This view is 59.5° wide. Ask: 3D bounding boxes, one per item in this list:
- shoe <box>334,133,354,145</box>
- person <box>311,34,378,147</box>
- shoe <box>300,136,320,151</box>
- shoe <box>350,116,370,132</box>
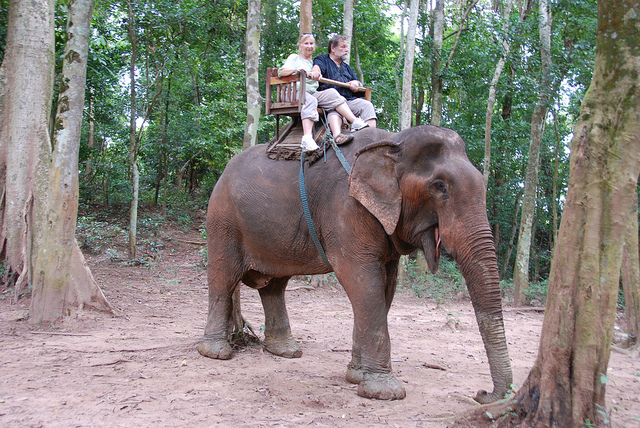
[{"bbox_3d":[0.307,-1.026,7.679,0.321,0.132,0.103,-8,5,42],"label":"shoe"},{"bbox_3d":[0.385,-1.826,8.214,1.070,1.602,1.071,4,8,28],"label":"person"},{"bbox_3d":[-0.137,-0.978,7.778,0.119,0.151,0.332,-16,21,-39],"label":"shoe"},{"bbox_3d":[0.588,-1.261,7.816,0.335,0.164,0.122,-3,20,40],"label":"shoe"}]
